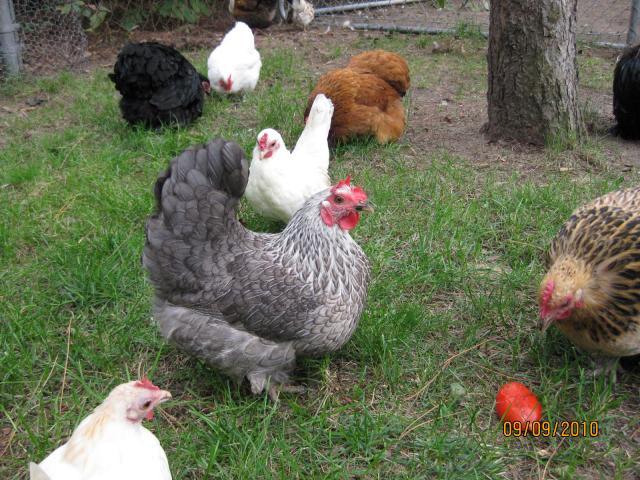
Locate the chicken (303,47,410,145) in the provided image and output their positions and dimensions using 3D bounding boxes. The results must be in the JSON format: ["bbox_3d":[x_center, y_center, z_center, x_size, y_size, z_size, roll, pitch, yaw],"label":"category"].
[{"bbox_3d":[0.371,-1.367,6.749,0.875,1.105,1.181,2,26,0],"label":"chicken"}]

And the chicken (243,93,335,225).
[{"bbox_3d":[-0.159,-0.695,5.524,0.607,0.961,1.162,20,53,15],"label":"chicken"}]

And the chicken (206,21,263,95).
[{"bbox_3d":[-1.048,-2.150,7.693,0.622,0.659,0.818,-1,27,-4],"label":"chicken"}]
